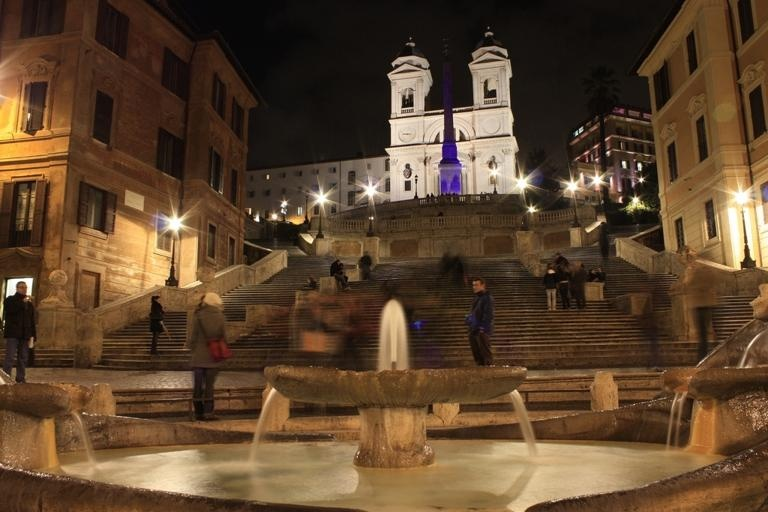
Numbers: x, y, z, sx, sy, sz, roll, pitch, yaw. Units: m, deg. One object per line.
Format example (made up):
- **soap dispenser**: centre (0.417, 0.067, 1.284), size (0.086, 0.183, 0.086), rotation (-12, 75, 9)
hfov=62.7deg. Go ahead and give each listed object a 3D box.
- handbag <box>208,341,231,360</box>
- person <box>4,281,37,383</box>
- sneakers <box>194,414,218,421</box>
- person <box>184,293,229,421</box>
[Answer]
- **handbag**: centre (-2.899, 1.682, 11.202), size (0.373, 0.373, 0.177), rotation (-2, -1, -34)
- **person**: centre (-7.920, 1.674, 13.741), size (0.597, 2.180, 1.027), rotation (-1, -1, -31)
- **sneakers**: centre (-3.103, 2.846, 11.104), size (0.408, 0.183, 0.137), rotation (1, -11, -5)
- **person**: centre (-3.105, 1.796, 11.296), size (0.653, 2.228, 0.864), rotation (-2, -1, -17)
